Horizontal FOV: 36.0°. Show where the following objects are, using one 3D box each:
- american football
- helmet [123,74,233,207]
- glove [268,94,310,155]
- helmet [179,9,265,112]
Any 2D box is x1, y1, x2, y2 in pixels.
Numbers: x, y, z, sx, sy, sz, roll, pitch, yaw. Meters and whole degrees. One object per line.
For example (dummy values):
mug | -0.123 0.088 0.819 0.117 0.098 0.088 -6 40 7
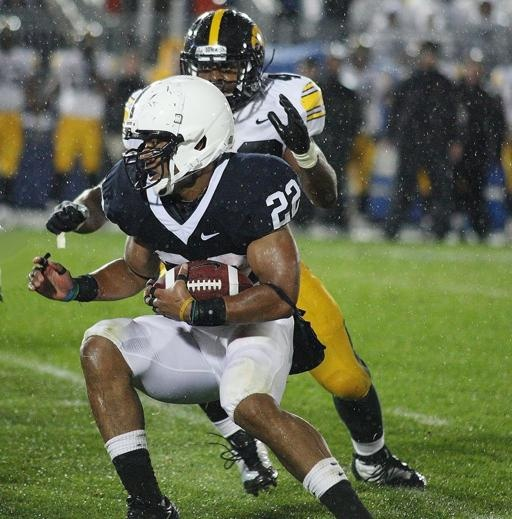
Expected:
american football | -0.152 0.074 2.234 0.288 0.119 0.135 -3 2 -10
helmet | -0.225 -0.358 2.309 0.374 0.343 0.298 -13 18 -16
glove | 0.092 -0.437 2.537 0.109 0.181 0.124 -6 22 -21
helmet | -0.054 -0.732 2.867 0.301 0.334 0.371 2 34 11
